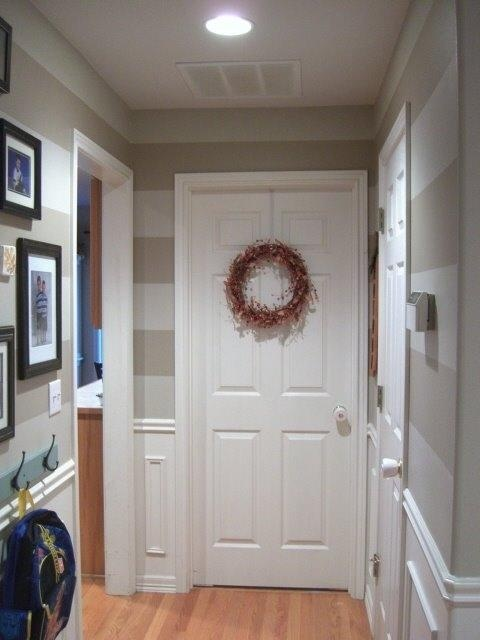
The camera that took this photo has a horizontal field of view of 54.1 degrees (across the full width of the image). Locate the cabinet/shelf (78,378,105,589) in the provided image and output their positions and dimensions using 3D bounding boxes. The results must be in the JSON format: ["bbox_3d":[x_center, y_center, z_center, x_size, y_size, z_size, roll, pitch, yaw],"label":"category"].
[{"bbox_3d":[-0.771,0.896,2.441,0.135,0.668,0.105,-1,0,-2],"label":"cabinet/shelf"}]
